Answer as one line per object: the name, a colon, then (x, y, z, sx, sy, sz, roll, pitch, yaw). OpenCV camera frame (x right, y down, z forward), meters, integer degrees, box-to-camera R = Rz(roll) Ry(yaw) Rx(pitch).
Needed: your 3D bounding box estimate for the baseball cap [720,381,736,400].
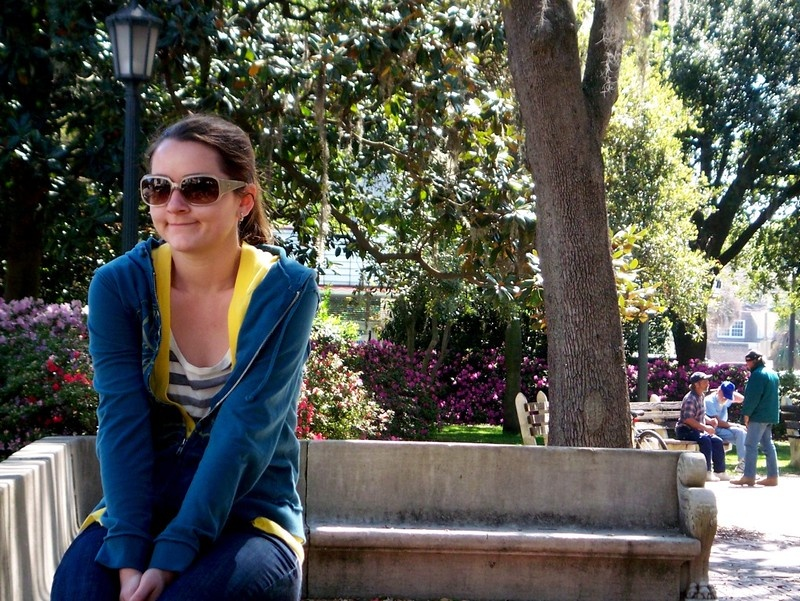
baseball cap: (5.467, 1.472, 16.096, 0.196, 0.317, 0.183, -3, -37, 0)

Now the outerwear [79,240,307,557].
outerwear: (-1.136, 0.558, 5.590, 1.145, 1.920, 1.144, 4, 2, 1)

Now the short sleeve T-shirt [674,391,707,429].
short sleeve T-shirt: (4.503, 1.682, 14.974, 0.394, 0.764, 0.740, -2, -4, 26)

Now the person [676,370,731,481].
person: (4.697, 1.937, 14.927, 0.631, 1.618, 0.783, 2, 0, -41)

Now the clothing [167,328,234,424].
clothing: (-1.148, 0.442, 5.550, 0.439, 0.686, 0.341, 3, 7, -18)

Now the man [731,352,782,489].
man: (5.439, 1.784, 14.721, 0.623, 2.096, 0.606, 2, -1, -26)
